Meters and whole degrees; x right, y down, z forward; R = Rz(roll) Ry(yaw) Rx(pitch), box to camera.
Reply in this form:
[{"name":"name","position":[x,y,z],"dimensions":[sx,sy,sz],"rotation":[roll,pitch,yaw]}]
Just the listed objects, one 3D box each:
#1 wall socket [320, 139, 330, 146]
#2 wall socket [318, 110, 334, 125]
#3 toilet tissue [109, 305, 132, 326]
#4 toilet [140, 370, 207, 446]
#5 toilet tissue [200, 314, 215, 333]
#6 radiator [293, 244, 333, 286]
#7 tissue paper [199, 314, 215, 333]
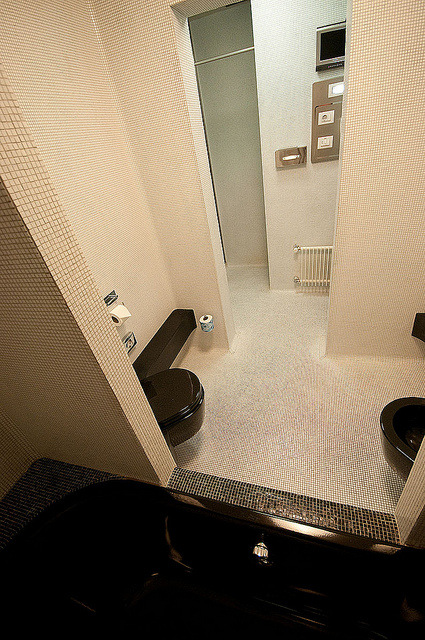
[{"name":"wall socket","position":[0.722,-1.142,2.530],"dimensions":[0.055,0.040,0.007],"rotation":[-7,32,17]},{"name":"wall socket","position":[0.710,-1.263,2.450],"dimensions":[0.077,0.088,0.016],"rotation":[5,52,18]},{"name":"toilet tissue","position":[-0.428,-0.026,1.832],"dimensions":[0.027,0.068,0.099],"rotation":[-33,35,28]},{"name":"toilet","position":[-0.160,0.381,1.854],"dimensions":[0.252,0.226,0.373],"rotation":[-26,35,-13]},{"name":"toilet tissue","position":[-0.036,0.018,2.563],"dimensions":[0.087,0.106,0.100],"rotation":[-2,48,7]},{"name":"radiator","position":[0.781,-0.439,3.043],"dimensions":[0.263,0.298,0.089],"rotation":[2,18,18]},{"name":"tissue paper","position":[-0.034,0.017,2.564],"dimensions":[0.087,0.105,0.101],"rotation":[0,49,8]}]
